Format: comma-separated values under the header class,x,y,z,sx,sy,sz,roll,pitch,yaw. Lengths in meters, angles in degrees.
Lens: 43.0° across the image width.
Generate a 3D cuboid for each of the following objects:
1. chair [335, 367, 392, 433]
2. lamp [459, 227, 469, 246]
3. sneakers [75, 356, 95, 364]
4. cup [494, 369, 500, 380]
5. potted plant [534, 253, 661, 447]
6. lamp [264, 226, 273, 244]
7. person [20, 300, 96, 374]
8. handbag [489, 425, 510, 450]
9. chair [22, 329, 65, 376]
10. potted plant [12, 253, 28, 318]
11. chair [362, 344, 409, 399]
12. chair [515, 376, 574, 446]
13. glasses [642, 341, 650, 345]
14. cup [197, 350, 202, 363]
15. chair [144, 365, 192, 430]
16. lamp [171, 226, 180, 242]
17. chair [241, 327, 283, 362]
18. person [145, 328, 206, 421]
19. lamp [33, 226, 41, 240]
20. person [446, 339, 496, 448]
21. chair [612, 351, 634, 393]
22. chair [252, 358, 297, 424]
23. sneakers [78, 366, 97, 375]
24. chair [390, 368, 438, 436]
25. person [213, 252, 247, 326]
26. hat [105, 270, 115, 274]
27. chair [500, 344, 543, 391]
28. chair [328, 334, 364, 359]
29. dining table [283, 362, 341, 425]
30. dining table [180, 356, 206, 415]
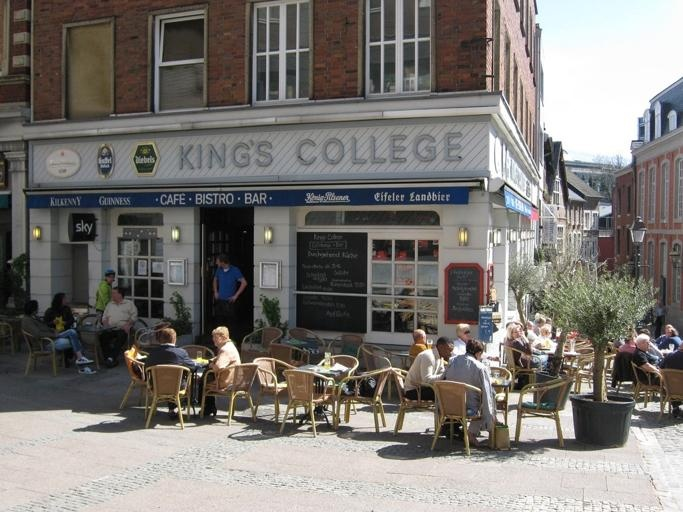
class,x,y,z,sx,sy,sz,roll,pitch,yaw
chair,0.496,2.813,17.214,1.016,1.553,1.159,1,-6,8
lamp,2.760,-0.425,19.438,0.226,0.405,0.115,0,12,-2
sneakers,-5.849,2.402,19.966,0.358,0.180,0.176,-1,-2,3
cup,3.064,2.338,17.001,0.108,0.227,0.116,0,17,0
potted plant,4.356,1.910,16.722,2.689,4.007,2.542,1,-2,-43
lamp,-1.737,-0.497,20.980,0.213,0.416,0.128,-1,13,-7
person,-6.550,1.848,20.211,1.381,1.986,0.875,-4,13,-7
handbag,2.895,3.292,15.727,0.360,0.536,0.358,0,-1,-2
chair,-6.913,2.190,20.195,0.927,1.483,1.050,0,-1,-3
potted plant,-8.618,0.736,23.499,0.461,1.452,0.970,-4,14,-20
chair,0.926,2.456,18.919,1.010,1.635,1.103,-1,-1,10
chair,3.900,2.859,16.841,1.081,1.719,1.354,1,-6,11
glasses,6.676,1.920,19.042,0.108,0.037,0.131,2,1,10
cup,-2.840,2.060,17.538,0.111,0.217,0.118,2,-2,0
chair,-3.289,2.629,16.751,0.890,1.594,1.076,1,10,-8
lamp,-4.155,-0.545,21.967,0.284,0.469,0.295,-1,1,-26
chair,-1.882,2.012,20.293,0.780,1.226,0.815,1,-2,28
person,-3.349,2.346,17.364,0.981,1.974,1.050,4,11,7
lamp,-8.191,-0.591,23.394,0.291,0.410,0.149,4,13,16
person,2.327,2.543,16.221,1.036,2.033,1.001,3,12,13
chair,6.534,2.640,20.163,0.569,0.882,0.611,-3,4,-44
chair,-1.341,2.733,17.725,1.001,1.513,1.111,-3,-6,38
sneakers,-5.801,2.658,19.940,0.312,0.143,0.194,3,0,12
chair,1.417,2.833,16.942,0.903,1.391,1.090,0,-2,9
person,-2.846,0.958,21.725,0.637,2.072,1.188,-7,15,-31
hat,-5.723,0.413,21.542,0.171,0.128,0.215,0,-2,-39
chair,3.995,2.555,19.683,0.932,1.387,1.015,-1,-2,0
chair,0.096,2.005,19.618,0.558,0.809,0.533,1,-4,29
dining table,-0.499,2.706,16.792,1.065,1.537,1.017,3,7,31
dining table,-2.878,2.506,17.291,0.739,0.944,0.798,1,-2,-3
